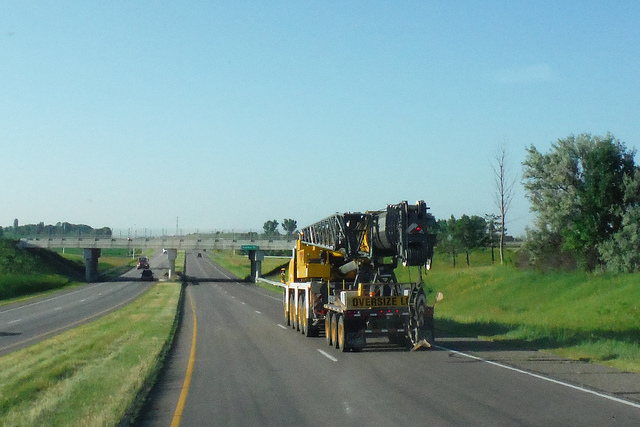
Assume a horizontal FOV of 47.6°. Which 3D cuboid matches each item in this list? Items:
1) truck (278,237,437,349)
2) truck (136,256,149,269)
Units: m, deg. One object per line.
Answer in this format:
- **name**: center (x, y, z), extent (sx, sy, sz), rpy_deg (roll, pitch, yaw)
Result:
- **truck**: center (1.767, 4.449, 41.222), extent (3.899, 4.871, 10.642), rpy_deg (4, 1, -19)
- **truck**: center (-31.913, 8.186, 129.491), extent (2.563, 2.652, 6.101), rpy_deg (0, -6, -11)
